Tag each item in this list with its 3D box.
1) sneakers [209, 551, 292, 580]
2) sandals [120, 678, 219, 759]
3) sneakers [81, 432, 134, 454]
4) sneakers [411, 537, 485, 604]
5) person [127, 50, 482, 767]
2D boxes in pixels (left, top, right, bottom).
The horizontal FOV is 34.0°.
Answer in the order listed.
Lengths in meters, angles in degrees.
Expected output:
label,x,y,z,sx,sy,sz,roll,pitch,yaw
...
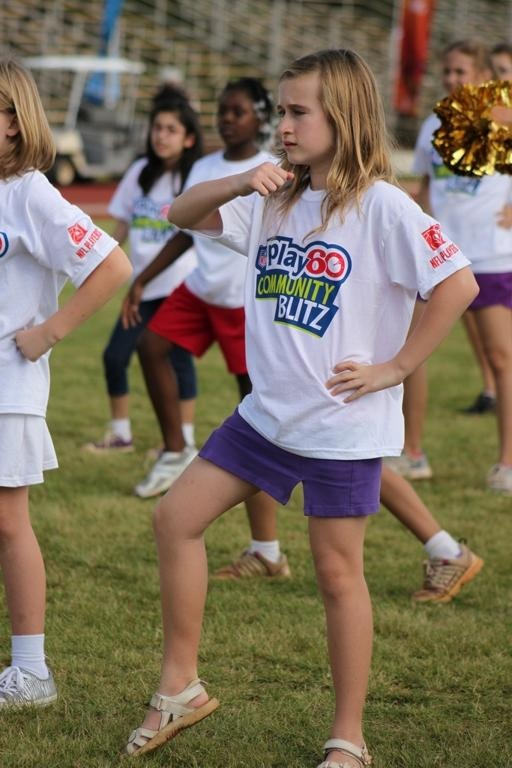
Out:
label,x,y,z,sx,sy,sz,roll,pitch,yaw
sneakers,-0.018,0.668,3.079,0.305,0.107,0.101,2,-5,-4
sandals,-0.183,0.750,1.933,0.272,0.112,0.095,-26,7,-5
sneakers,-0.799,0.339,4.619,0.302,0.107,0.100,1,-5,-6
sneakers,0.650,0.661,2.925,0.148,0.291,0.119,42,7,-25
person,0.120,0.039,1.915,0.687,1.527,0.877,4,21,-7
